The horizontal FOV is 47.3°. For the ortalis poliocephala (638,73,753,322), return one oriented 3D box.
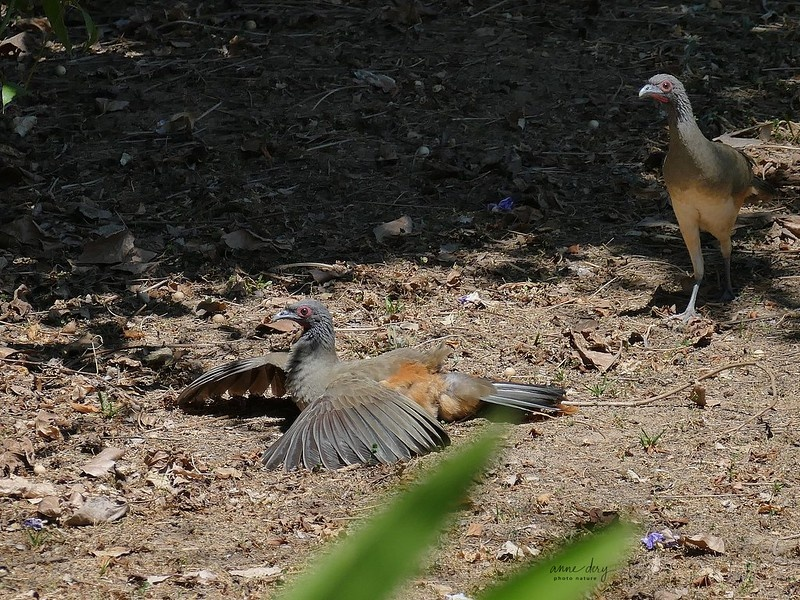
[{"bbox_3d":[2.320,-0.783,6.992,0.775,1.884,0.699,-2,18,-4],"label":"ortalis poliocephala"}]

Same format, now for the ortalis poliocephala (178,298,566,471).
[{"bbox_3d":[-0.177,0.609,5.772,2.391,0.541,1.040,2,30,6],"label":"ortalis poliocephala"}]
